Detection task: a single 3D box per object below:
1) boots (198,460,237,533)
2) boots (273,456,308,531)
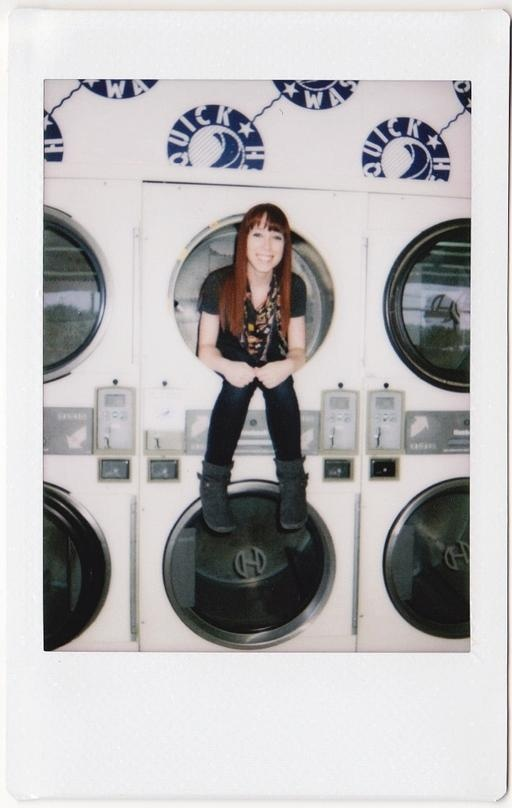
[{"bbox_3d":[-0.077,0.186,1.922,0.046,0.154,0.095,-1,-19,-17],"label":"boots"},{"bbox_3d":[0.063,0.151,1.987,0.058,0.155,0.150,-5,25,-2],"label":"boots"}]
